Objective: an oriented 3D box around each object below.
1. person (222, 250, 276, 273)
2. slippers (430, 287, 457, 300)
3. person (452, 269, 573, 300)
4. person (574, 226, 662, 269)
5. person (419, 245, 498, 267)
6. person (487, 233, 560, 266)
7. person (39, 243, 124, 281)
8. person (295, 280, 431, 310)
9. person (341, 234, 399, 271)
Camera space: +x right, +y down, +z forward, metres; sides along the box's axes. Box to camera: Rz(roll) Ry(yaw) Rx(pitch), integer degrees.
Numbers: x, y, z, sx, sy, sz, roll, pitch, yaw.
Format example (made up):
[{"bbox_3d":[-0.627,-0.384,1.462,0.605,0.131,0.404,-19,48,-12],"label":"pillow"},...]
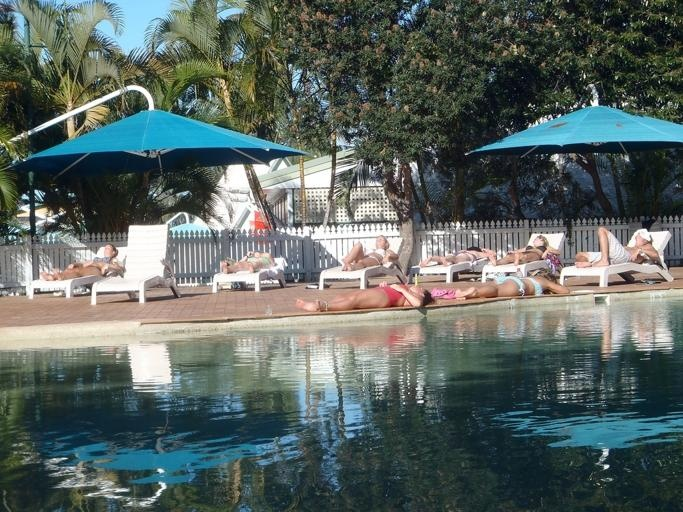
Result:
[{"bbox_3d":[-2.084,0.143,17.485,0.492,0.286,1.103,-1,8,14],"label":"person"},{"bbox_3d":[1.824,0.651,13.466,0.421,0.148,0.640,-1,5,6],"label":"slippers"},{"bbox_3d":[3.061,0.542,13.713,1.286,0.388,0.811,-2,14,-19],"label":"person"},{"bbox_3d":[5.842,-0.130,15.890,1.497,0.649,0.831,-9,10,-10],"label":"person"},{"bbox_3d":[2.868,0.015,18.547,0.757,0.291,1.109,-7,-3,42],"label":"person"},{"bbox_3d":[3.973,-0.072,16.616,0.705,0.624,1.288,-8,5,45],"label":"person"},{"bbox_3d":[-5.380,0.035,16.181,0.906,0.590,1.478,-3,0,32],"label":"person"},{"bbox_3d":[0.403,0.696,11.992,1.333,0.316,0.801,-10,3,-26],"label":"person"},{"bbox_3d":[0.635,-0.092,16.416,0.559,0.663,1.425,3,7,44],"label":"person"}]
